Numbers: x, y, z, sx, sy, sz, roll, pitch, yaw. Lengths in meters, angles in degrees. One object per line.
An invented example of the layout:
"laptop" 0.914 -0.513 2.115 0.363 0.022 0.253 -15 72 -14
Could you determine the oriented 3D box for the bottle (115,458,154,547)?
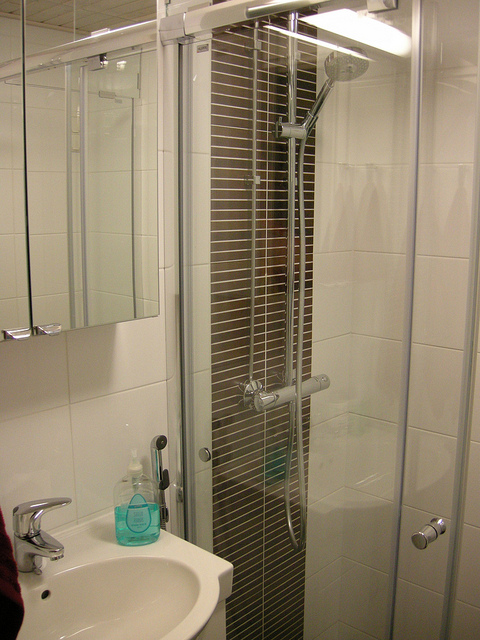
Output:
"bottle" -0.228 0.388 1.171 0.084 0.210 0.050 -3 13 -14
